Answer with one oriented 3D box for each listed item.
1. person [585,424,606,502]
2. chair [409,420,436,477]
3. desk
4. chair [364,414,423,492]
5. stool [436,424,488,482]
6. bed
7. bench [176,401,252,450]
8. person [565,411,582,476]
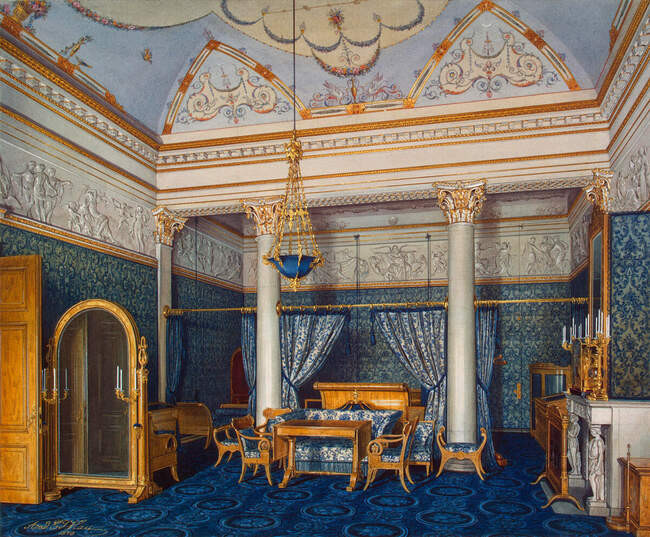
[{"bbox_3d":[3.400,2.488,7.989,0.210,1.013,0.247,-1,-2,31],"label":"person"},{"bbox_3d":[1.542,2.859,9.949,0.645,1.020,0.692,-2,-11,11],"label":"chair"},{"bbox_3d":[0.018,3.101,9.620,1.327,1.126,0.922,-3,-17,12],"label":"desk"},{"bbox_3d":[1.111,2.829,9.792,0.808,1.362,0.963,0,-9,13],"label":"chair"},{"bbox_3d":[2.178,2.962,10.179,0.726,0.737,0.793,-1,-4,16],"label":"stool"},{"bbox_3d":[0.330,2.725,10.500,1.414,1.292,1.942,-4,-14,18],"label":"bed"},{"bbox_3d":[-2.325,3.084,12.882,0.851,0.857,1.630,-1,-4,16],"label":"bench"},{"bbox_3d":[3.556,2.535,9.069,0.196,1.000,0.802,0,-2,22],"label":"person"}]
